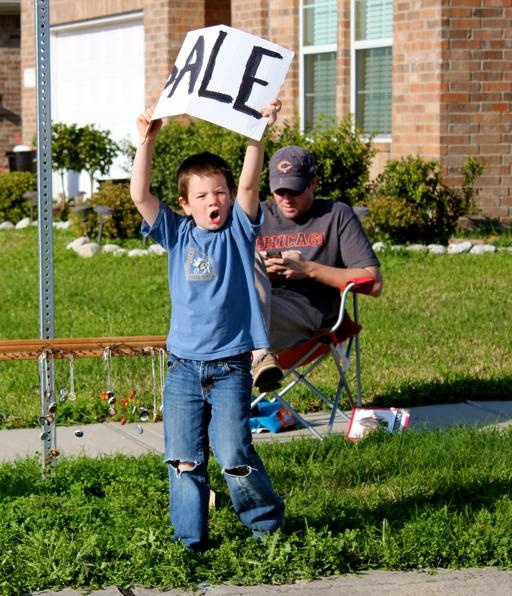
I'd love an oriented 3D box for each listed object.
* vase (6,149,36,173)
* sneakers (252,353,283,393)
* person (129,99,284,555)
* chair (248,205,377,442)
[{"bbox_3d":[-3.762,-2.171,20.462,0.449,0.555,0.464,-1,2,-5],"label":"vase"},{"bbox_3d":[0.059,0.390,6.457,0.089,0.116,0.238,-16,-20,-14],"label":"sneakers"},{"bbox_3d":[-0.215,0.147,5.854,0.703,1.919,0.560,1,10,8],"label":"person"},{"bbox_3d":[0.238,0.321,7.316,0.794,1.109,0.861,-9,4,1],"label":"chair"}]
